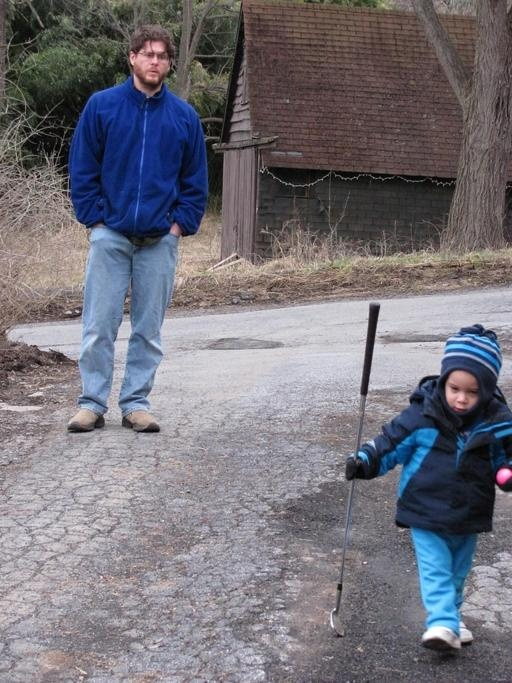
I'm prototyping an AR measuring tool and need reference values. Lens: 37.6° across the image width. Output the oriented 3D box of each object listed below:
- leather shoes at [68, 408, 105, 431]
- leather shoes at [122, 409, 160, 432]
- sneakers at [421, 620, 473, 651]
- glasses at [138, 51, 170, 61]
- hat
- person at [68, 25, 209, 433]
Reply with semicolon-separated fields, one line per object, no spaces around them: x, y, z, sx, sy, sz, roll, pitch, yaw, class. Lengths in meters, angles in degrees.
-0.941;0.444;4.147;0.089;0.082;0.221;-1;-5;16;leather shoes
-0.652;0.451;4.219;0.097;0.081;0.233;-5;2;-38;leather shoes
0.526;0.803;2.084;0.074;0.072;0.179;-1;-5;30;sneakers
-0.550;-1.518;4.012;0.147;0.051;0.041;-1;11;-14;glasses
0.721;0.071;2.346;0.193;0.233;0.246;17;-4;24;hat
-0.663;-0.603;4.141;0.809;2.201;0.435;-2;12;-16;person
